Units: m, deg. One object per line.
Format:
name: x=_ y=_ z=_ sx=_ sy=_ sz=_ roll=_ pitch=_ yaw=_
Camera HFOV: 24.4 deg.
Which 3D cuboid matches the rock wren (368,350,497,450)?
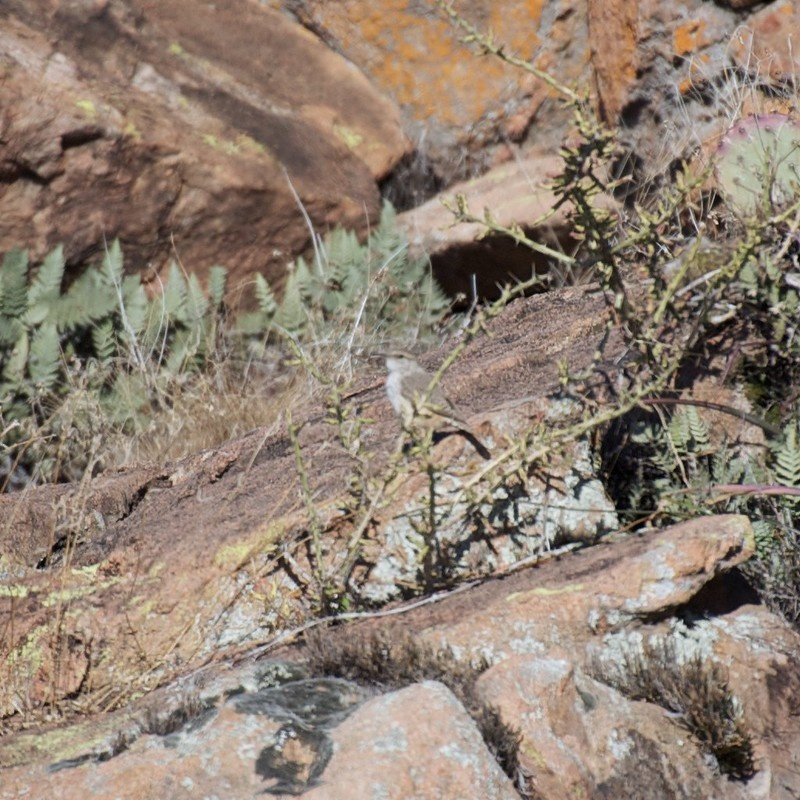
rock wren: x=0.135 y=0.027 z=8.134 sx=0.527 sy=0.393 sz=0.205 roll=8 pitch=-17 yaw=18
